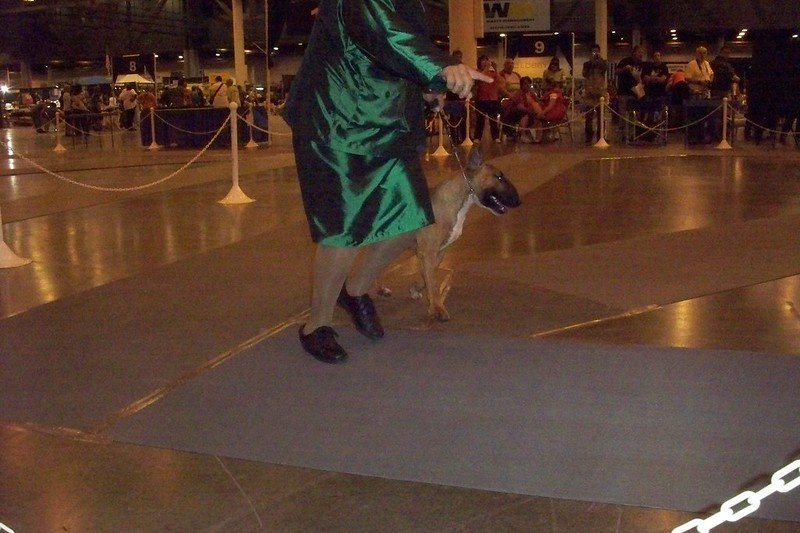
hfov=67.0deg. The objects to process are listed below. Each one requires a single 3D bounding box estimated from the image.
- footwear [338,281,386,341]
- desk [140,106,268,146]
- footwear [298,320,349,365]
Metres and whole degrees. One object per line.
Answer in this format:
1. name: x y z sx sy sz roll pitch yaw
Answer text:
1. footwear: -0.211 0.278 3.598 0.176 0.432 0.165 -36 3 22
2. desk: -6.399 -4.342 18.885 2.631 0.996 2.718 3 11 24
3. footwear: -0.419 0.404 3.366 0.329 0.145 0.136 21 21 27
